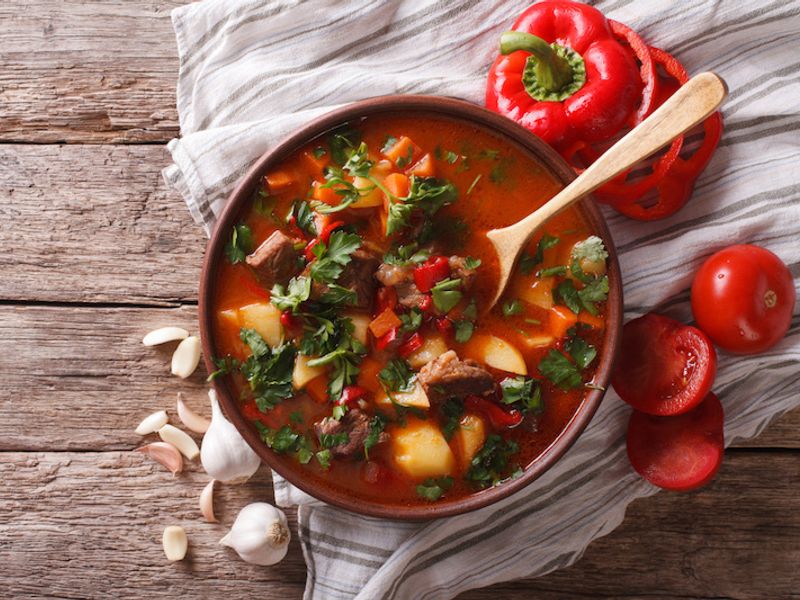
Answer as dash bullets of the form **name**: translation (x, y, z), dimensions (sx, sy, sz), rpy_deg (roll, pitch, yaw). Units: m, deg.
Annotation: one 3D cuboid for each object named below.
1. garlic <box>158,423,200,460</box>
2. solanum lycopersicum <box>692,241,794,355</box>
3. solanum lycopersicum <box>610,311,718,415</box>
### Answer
- **garlic**: translation (-1.232, 0.775, 4.667), dimensions (0.137, 0.076, 0.256), rpy_deg (-43, 91, -8)
- **solanum lycopersicum**: translation (1.727, -0.003, 4.445), dimensions (0.557, 0.445, 0.519), rpy_deg (21, 88, -18)
- **solanum lycopersicum**: translation (1.373, 0.389, 4.393), dimensions (0.552, 0.340, 0.538), rpy_deg (-18, 59, 13)
